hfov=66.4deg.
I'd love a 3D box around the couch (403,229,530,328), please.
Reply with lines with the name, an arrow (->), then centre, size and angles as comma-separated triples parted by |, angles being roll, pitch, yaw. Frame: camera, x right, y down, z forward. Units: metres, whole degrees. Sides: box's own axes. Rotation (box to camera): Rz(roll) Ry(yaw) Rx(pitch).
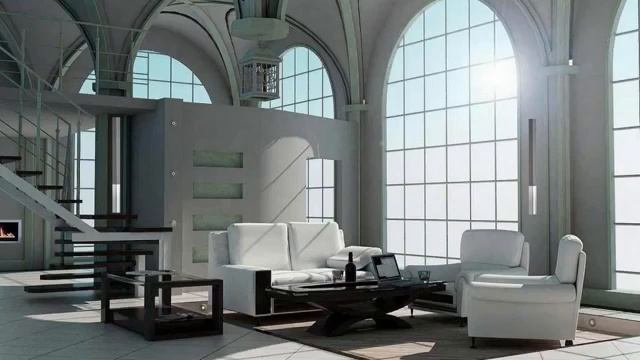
couch -> 2.747, 1.738, 9.003 | 2.127, 1.469, 1.939 | -3, -4, -12

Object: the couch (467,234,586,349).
couch -> 3.473, 1.778, 8.273 | 2.356, 1.528, 2.230 | 4, -7, -39

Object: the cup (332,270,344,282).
cup -> 0.292, 1.660, 8.462 | 0.217, 0.142, 0.186 | 1, -5, -12

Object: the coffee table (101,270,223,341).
coffee table -> -2.626, 2.041, 8.180 | 1.291, 1.007, 1.806 | 6, -9, -41

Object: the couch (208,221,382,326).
couch -> -0.352, 1.684, 9.599 | 3.203, 1.564, 1.738 | 3, -3, -37
